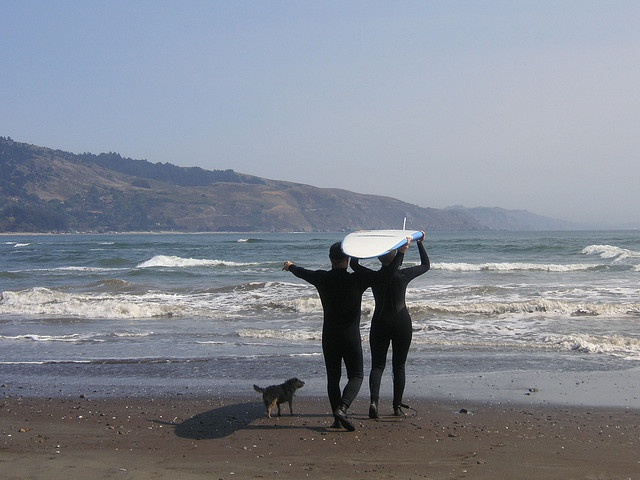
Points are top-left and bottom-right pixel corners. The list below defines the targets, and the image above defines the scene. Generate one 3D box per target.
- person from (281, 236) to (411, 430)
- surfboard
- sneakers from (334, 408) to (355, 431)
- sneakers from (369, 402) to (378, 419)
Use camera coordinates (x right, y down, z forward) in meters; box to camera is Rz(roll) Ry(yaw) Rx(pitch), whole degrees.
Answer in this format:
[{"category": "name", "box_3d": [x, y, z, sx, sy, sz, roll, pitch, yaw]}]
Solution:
[{"category": "person", "box_3d": [0.360, 1.601, 14.495, 1.691, 3.106, 0.707, 1, 9, 7]}, {"category": "surfboard", "box_3d": [0.986, -0.048, 14.839, 1.082, 0.355, 1.559, 9, 18, 30]}, {"category": "sneakers", "box_3d": [0.346, 2.991, 14.393, 0.206, 0.242, 0.587, -26, -53, 25]}, {"category": "sneakers", "box_3d": [0.897, 2.917, 14.864, 0.129, 0.289, 0.136, -2, 29, 12]}]
